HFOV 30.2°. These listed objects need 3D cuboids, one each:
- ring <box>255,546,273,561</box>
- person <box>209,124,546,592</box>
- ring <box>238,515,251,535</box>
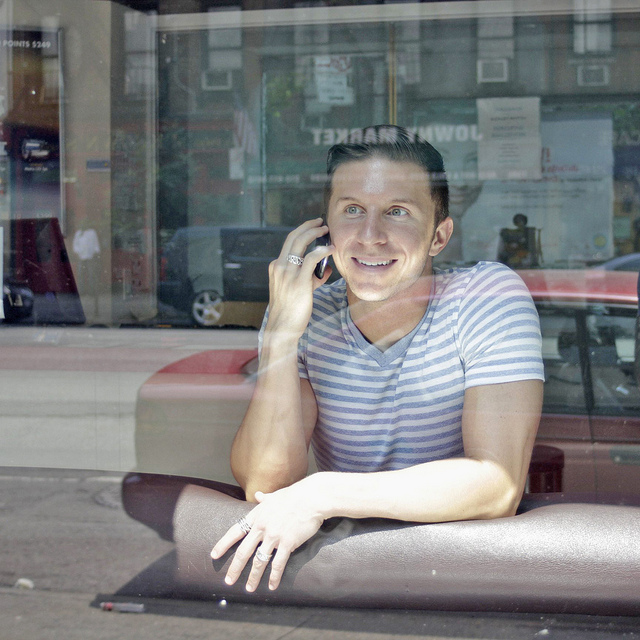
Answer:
[{"bbox_3d":[-0.089,0.370,1.869,0.020,0.009,0.017,9,20,-34],"label":"ring"},{"bbox_3d":[0.110,0.045,2.080,0.552,0.747,0.487,0,3,2],"label":"person"},{"bbox_3d":[-0.122,0.331,1.914,0.013,0.023,0.006,-21,-28,-13],"label":"ring"}]
